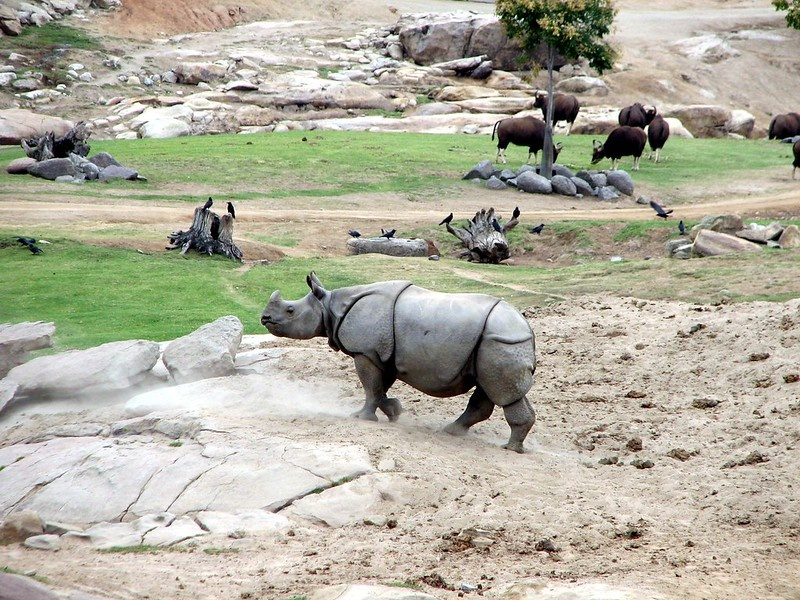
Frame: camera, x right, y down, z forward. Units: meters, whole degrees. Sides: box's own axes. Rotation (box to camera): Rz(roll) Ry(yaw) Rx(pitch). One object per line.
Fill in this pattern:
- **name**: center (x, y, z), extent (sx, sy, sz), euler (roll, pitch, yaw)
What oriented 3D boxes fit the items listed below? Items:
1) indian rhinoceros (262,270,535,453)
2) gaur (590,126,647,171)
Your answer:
- **indian rhinoceros**: center (0.172, 1.029, 16.997), extent (4.210, 2.719, 0.963), euler (6, 20, 17)
- **gaur**: center (8.748, -6.042, 40.457), extent (2.829, 1.691, 2.317), euler (10, 20, 32)
